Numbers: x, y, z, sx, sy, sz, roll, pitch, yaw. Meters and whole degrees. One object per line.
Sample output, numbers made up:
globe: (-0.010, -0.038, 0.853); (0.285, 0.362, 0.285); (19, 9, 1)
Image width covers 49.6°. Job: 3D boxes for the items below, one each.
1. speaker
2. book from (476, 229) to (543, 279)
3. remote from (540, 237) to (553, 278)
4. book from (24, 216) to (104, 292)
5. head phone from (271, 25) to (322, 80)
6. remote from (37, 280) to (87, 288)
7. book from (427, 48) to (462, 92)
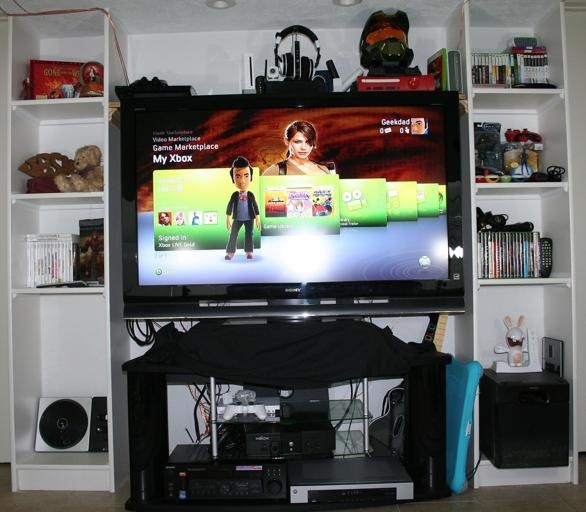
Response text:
speaker: (1.238, 0.919, 3.506); (0.420, 0.447, 0.454); (1, -7, -4)
book: (1.193, -0.005, 3.502); (0.434, 0.331, 0.238); (1, -5, -3)
remote: (1.418, 0.007, 3.532); (0.048, 0.220, 0.127); (-3, -4, 42)
book: (-1.277, 0.002, 3.536); (0.402, 0.344, 0.155); (0, -4, -6)
head phone: (0.022, -1.117, 3.511); (0.247, 0.317, 0.152); (3, -10, -8)
remote: (-1.268, 0.151, 3.468); (0.288, 0.047, 0.150); (0, -2, -11)
book: (0.837, -1.016, 3.487); (0.146, 0.278, 0.290); (-2, 1, -5)
